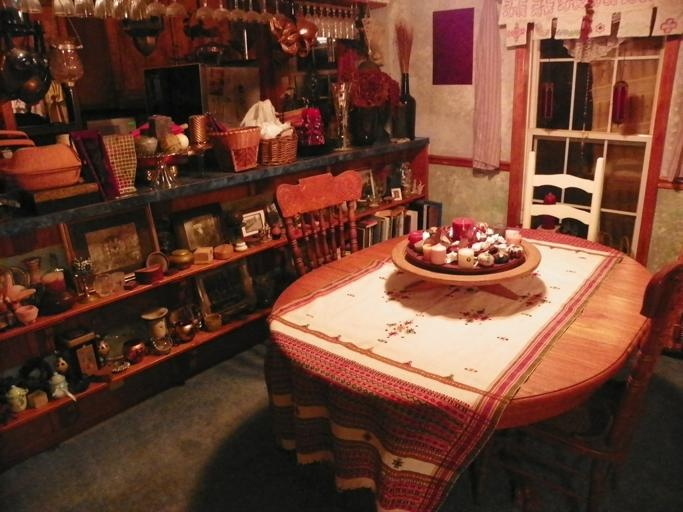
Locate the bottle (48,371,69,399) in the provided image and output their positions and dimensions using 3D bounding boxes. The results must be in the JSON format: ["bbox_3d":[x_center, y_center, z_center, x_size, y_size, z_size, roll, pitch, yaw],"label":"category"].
[{"bbox_3d":[-1.551,0.709,2.873,0.079,0.130,0.078,-4,24,2],"label":"bottle"}]

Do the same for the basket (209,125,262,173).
[{"bbox_3d":[-0.661,-0.680,3.322,0.371,0.270,0.296,13,23,35],"label":"basket"}]

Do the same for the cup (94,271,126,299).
[{"bbox_3d":[-1.306,0.158,2.960,0.155,0.109,0.120,1,12,36],"label":"cup"}]

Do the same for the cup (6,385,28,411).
[{"bbox_3d":[-1.712,0.750,2.769,0.090,0.147,0.065,-12,25,-16],"label":"cup"}]

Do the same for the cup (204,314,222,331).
[{"bbox_3d":[-0.828,0.423,3.430,0.111,0.073,0.106,2,22,-1],"label":"cup"}]

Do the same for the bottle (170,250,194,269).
[{"bbox_3d":[-0.964,0.009,3.221,0.129,0.088,0.121,2,16,0],"label":"bottle"}]

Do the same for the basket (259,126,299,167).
[{"bbox_3d":[-0.419,-0.737,3.542,0.223,0.190,0.300,13,26,28],"label":"basket"}]

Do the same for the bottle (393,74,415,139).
[{"bbox_3d":[0.551,-1.241,4.377,0.163,0.529,0.223,13,30,35],"label":"bottle"}]
